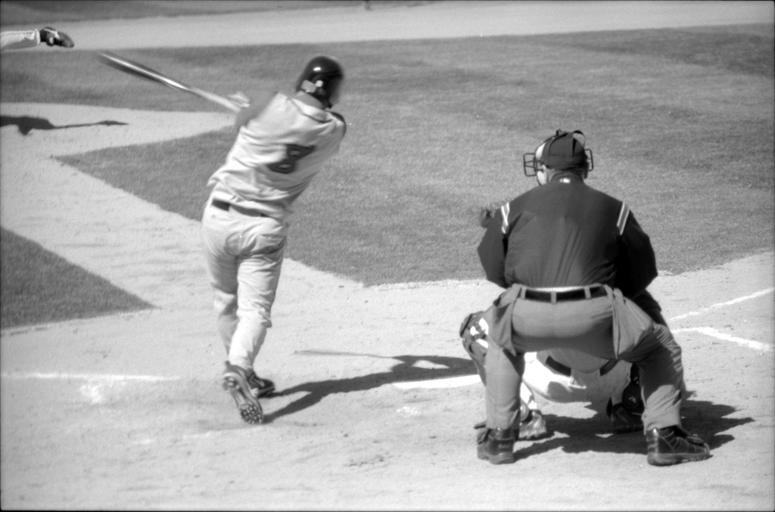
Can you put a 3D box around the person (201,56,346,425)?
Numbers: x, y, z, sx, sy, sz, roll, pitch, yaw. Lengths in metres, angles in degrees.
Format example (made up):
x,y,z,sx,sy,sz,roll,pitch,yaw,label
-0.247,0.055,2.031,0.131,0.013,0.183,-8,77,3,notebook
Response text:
x,y,z,sx,sy,sz,roll,pitch,yaw,label
-0.914,-0.116,8.177,0.868,2.532,1.272,6,24,23,person

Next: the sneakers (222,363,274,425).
x,y,z,sx,sy,sz,roll,pitch,yaw,label
-1.016,0.997,8.262,0.215,0.487,0.226,-37,27,4,sneakers

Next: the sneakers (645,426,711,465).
x,y,z,sx,sy,sz,roll,pitch,yaw,label
1.735,1.225,7.516,0.575,0.221,0.184,-4,6,-11,sneakers

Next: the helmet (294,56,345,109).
x,y,z,sx,sy,sz,roll,pitch,yaw,label
-0.484,-1.215,8.140,0.335,0.366,0.185,-5,22,-6,helmet
